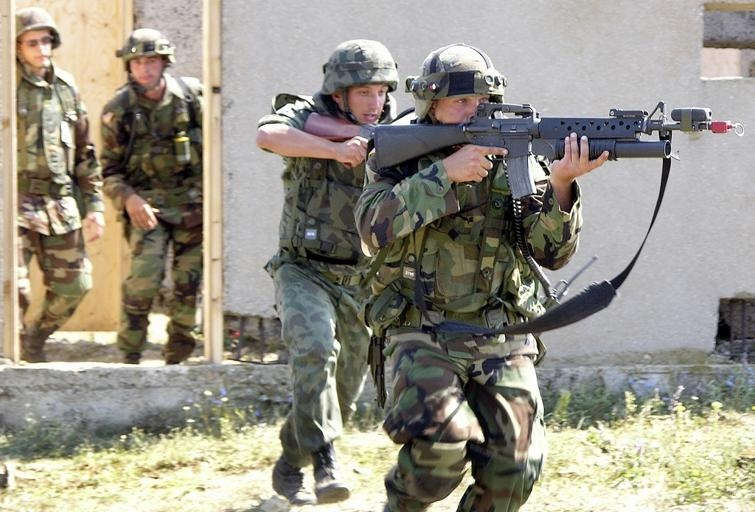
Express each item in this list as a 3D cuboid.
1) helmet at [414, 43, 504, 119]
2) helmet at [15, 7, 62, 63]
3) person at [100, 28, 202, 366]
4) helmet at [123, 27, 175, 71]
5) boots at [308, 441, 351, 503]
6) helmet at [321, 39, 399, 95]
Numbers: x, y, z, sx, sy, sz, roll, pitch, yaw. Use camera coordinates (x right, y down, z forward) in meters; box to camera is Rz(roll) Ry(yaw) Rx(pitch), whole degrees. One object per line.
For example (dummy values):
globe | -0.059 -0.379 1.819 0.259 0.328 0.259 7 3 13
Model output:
helmet | 0.440 -1.103 7.451 0.528 0.331 0.468 7 11 41
helmet | -2.923 -1.939 10.276 0.336 0.270 0.397 -10 3 -33
person | -1.963 -0.521 10.602 0.924 2.917 0.442 2 4 -10
helmet | -1.980 -1.847 10.661 0.417 0.214 0.330 -19 17 -38
boots | -0.325 1.473 8.133 0.226 0.410 0.462 1 -21 -27
helmet | -0.134 -1.322 8.533 0.447 0.241 0.450 -6 5 -41
